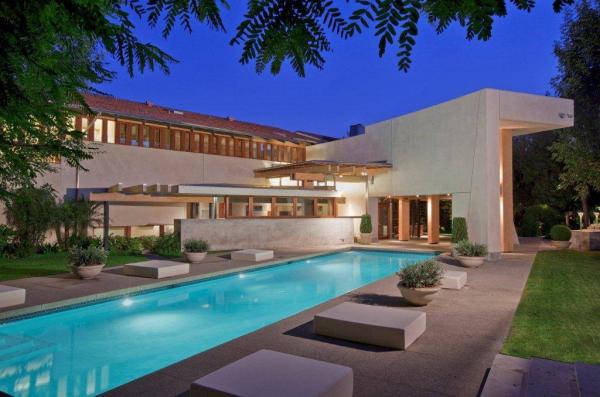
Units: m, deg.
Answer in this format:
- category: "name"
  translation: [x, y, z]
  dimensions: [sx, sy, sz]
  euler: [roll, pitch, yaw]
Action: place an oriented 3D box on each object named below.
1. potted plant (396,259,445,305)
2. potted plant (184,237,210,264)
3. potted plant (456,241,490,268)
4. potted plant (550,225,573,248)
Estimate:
- category: "potted plant"
  translation: [2.877, 2.080, 9.938]
  dimensions: [1.140, 1.018, 1.024]
  euler: [4, -4, -24]
- category: "potted plant"
  translation: [-4.279, 2.201, 16.833]
  dimensions: [1.059, 0.882, 1.035]
  euler: [1, -9, -2]
- category: "potted plant"
  translation: [6.714, 2.190, 15.671]
  dimensions: [1.143, 0.852, 1.136]
  euler: [3, -5, 18]
- category: "potted plant"
  translation: [14.563, 2.128, 22.283]
  dimensions: [0.963, 1.019, 0.628]
  euler: [-7, -5, 20]
